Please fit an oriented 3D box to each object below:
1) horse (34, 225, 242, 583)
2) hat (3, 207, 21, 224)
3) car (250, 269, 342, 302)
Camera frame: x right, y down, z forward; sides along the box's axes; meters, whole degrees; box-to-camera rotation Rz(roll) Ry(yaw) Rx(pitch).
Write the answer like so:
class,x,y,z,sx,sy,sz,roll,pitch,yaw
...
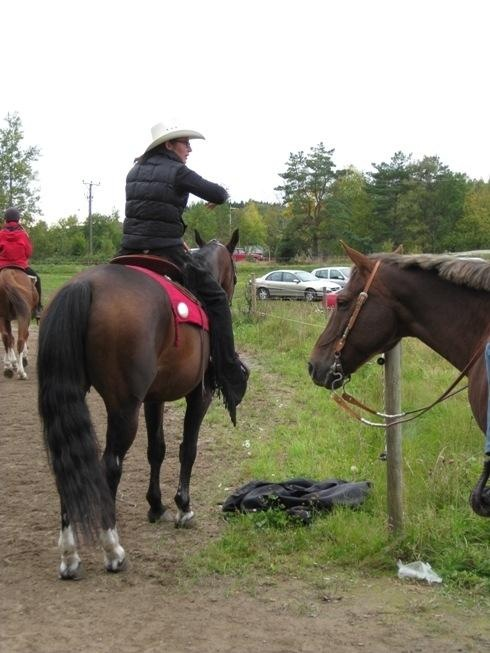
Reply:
class,x,y,z,sx,sy,sz,roll,pitch,yaw
horse,-0.678,0.356,5.759,0.928,2.177,3.292,4,3,15
hat,-3.225,-1.565,10.564,0.255,0.259,0.267,3,36,-13
car,1.829,-1.471,27.606,3.219,0.842,1.364,1,5,36
